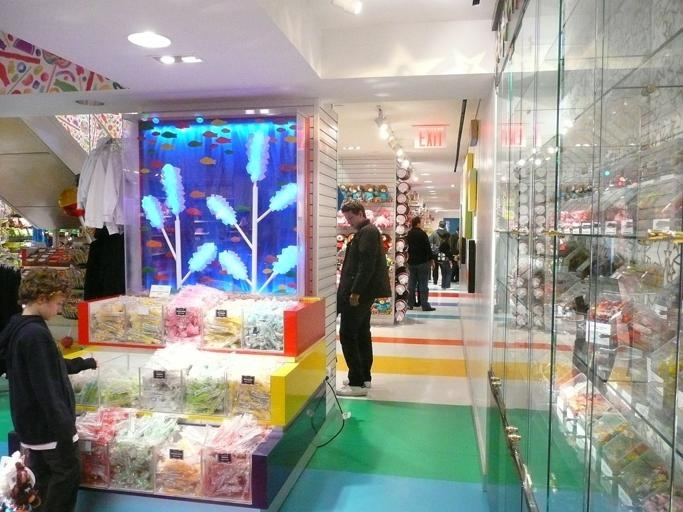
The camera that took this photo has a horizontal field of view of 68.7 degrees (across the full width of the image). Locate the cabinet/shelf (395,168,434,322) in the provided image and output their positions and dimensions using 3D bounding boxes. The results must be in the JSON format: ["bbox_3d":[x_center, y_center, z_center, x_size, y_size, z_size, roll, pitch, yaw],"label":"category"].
[{"bbox_3d":[1.372,-0.299,9.275,0.615,2.883,1.801,1,3,12],"label":"cabinet/shelf"}]

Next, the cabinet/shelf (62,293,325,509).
[{"bbox_3d":[-0.996,0.909,3.551,1.448,1.117,1.202,1,4,16],"label":"cabinet/shelf"}]

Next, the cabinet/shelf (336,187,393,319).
[{"bbox_3d":[0.221,0.002,5.024,0.537,1.155,0.659,0,3,2],"label":"cabinet/shelf"}]

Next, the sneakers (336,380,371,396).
[{"bbox_3d":[0.126,1.353,5.165,0.322,0.138,0.129,3,-7,5],"label":"sneakers"}]

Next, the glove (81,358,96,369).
[{"bbox_3d":[-1.645,0.711,3.278,0.074,0.069,0.073,15,26,5],"label":"glove"}]

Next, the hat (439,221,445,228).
[{"bbox_3d":[2.429,-0.790,12.011,0.162,0.176,0.221,3,-4,1],"label":"hat"}]
